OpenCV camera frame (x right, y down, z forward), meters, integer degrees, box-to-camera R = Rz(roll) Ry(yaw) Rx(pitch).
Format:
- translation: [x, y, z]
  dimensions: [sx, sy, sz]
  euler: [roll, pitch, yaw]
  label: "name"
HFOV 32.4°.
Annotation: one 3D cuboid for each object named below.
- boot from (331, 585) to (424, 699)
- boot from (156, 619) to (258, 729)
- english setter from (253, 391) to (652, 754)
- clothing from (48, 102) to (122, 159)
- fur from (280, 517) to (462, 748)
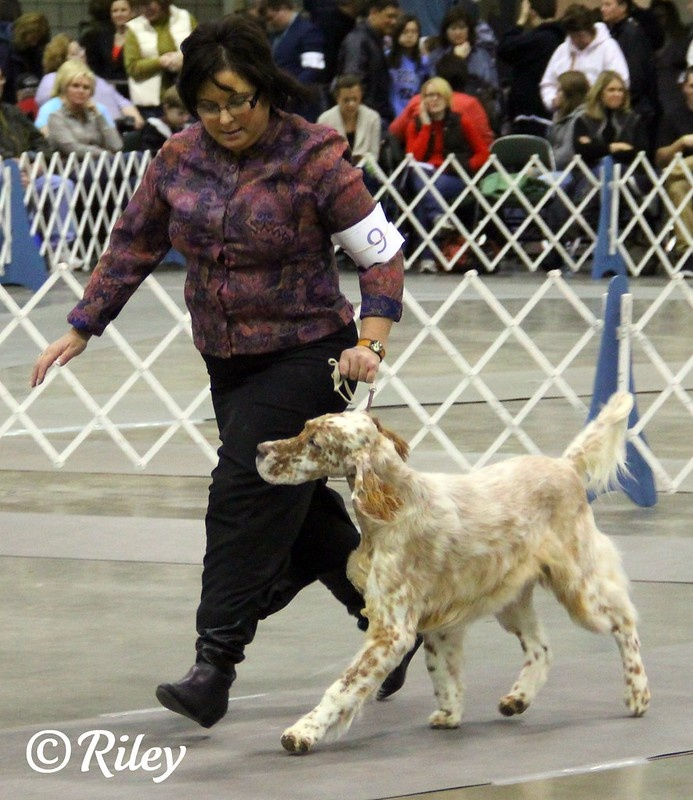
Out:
- translation: [0.076, 0.646, 3.305]
  dimensions: [0.231, 0.402, 0.167]
  euler: [10, -17, -42]
  label: "boot"
- translation: [-0.373, 0.700, 3.010]
  dimensions: [0.144, 0.214, 0.252]
  euler: [5, -28, 24]
  label: "boot"
- translation: [0.275, 0.451, 3.101]
  dimensions: [1.369, 0.785, 0.386]
  euler: [-1, -8, -33]
  label: "english setter"
- translation: [-3.209, -3.228, 14.194]
  dimensions: [0.685, 0.647, 1.011]
  euler: [14, 24, 27]
  label: "clothing"
- translation: [0.049, 0.572, 2.863]
  dimensions: [0.427, 0.522, 0.117]
  euler: [-8, 11, -42]
  label: "fur"
